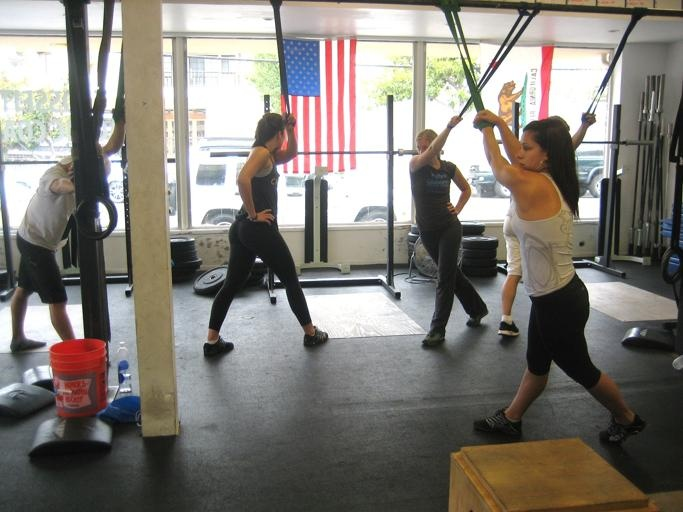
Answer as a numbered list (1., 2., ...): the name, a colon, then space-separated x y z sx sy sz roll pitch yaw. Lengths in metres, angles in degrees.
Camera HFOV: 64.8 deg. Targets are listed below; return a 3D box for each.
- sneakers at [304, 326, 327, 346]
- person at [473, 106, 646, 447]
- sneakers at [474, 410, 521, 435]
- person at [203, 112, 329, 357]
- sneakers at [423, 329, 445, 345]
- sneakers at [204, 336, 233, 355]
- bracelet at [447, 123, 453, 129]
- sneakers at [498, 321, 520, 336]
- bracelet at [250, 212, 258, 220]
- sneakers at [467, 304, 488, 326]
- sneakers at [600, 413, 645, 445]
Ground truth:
1. sneakers: -0.238 0.714 4.892 0.113 0.158 0.257 11 15 43
2. person: 1.230 0.156 3.150 1.034 1.984 0.418 7 16 29
3. sneakers: 0.996 1.065 3.446 0.312 0.149 0.125 4 -7 10
4. person: -0.706 -0.196 4.646 1.079 2.018 0.504 -4 14 -15
5. sneakers: 0.814 0.731 4.798 0.220 0.102 0.087 17 17 -42
6. sneakers: -1.062 0.776 4.707 0.108 0.124 0.274 4 8 36
7. bracelet: 0.898 -1.074 4.438 0.042 0.041 0.041 7 8 11
8. sneakers: 1.559 0.677 5.012 0.091 0.100 0.217 3 3 40
9. bracelet: -0.718 -0.327 4.385 0.056 0.037 0.070 0 -4 -11
10. sneakers: 1.344 0.583 5.323 0.088 0.196 0.072 16 33 -31
11. sneakers: 1.710 1.058 3.260 0.230 0.116 0.082 -39 17 38
